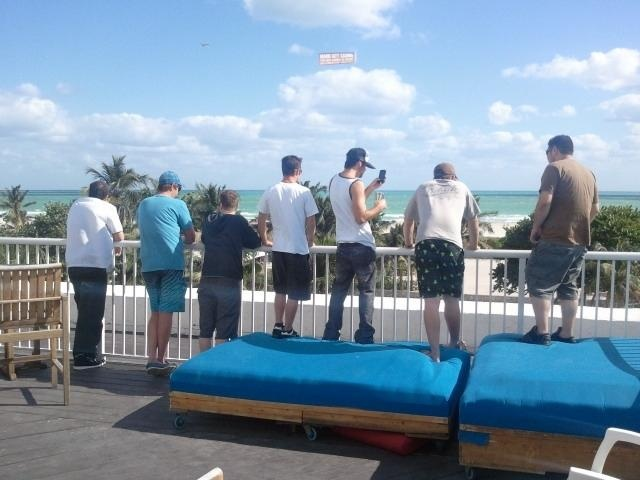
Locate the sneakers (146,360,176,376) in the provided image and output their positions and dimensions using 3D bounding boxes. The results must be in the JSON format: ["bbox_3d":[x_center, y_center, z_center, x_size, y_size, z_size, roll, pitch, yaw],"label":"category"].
[{"bbox_3d":[-2.028,1.620,10.097,0.409,0.178,0.159,2,-2,-37],"label":"sneakers"}]

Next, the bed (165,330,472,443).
[{"bbox_3d":[0.048,1.647,8.768,3.119,0.929,0.824,3,7,10],"label":"bed"}]

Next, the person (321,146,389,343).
[{"bbox_3d":[0.417,0.068,9.719,0.667,2.350,0.443,2,7,4],"label":"person"}]

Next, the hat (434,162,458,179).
[{"bbox_3d":[1.492,-0.801,9.349,0.243,0.219,0.178,-8,5,11],"label":"hat"}]

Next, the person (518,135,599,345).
[{"bbox_3d":[2.826,-0.008,9.209,0.764,2.401,0.878,4,7,19],"label":"person"}]

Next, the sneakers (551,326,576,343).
[{"bbox_3d":[2.830,1.114,9.174,0.122,0.155,0.347,1,-2,-17],"label":"sneakers"}]

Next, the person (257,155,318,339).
[{"bbox_3d":[-0.408,0.089,9.900,0.746,2.263,0.920,1,7,-5],"label":"person"}]

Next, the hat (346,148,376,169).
[{"bbox_3d":[0.489,-1.014,9.769,0.360,0.232,0.236,5,12,-16],"label":"hat"}]

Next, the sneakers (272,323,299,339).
[{"bbox_3d":[-0.425,1.116,9.688,0.137,0.163,0.367,1,-1,37],"label":"sneakers"}]

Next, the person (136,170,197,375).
[{"bbox_3d":[-1.982,0.413,10.162,0.673,2.541,0.657,-4,9,-36],"label":"person"}]

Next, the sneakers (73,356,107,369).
[{"bbox_3d":[-3.053,1.584,10.429,0.465,0.206,0.155,-1,2,-28],"label":"sneakers"}]

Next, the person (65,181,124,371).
[{"bbox_3d":[-2.967,0.463,10.342,0.697,2.416,0.481,-1,7,-19],"label":"person"}]

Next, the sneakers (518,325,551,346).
[{"bbox_3d":[2.499,1.095,9.078,0.158,0.185,0.350,1,-2,-17],"label":"sneakers"}]
